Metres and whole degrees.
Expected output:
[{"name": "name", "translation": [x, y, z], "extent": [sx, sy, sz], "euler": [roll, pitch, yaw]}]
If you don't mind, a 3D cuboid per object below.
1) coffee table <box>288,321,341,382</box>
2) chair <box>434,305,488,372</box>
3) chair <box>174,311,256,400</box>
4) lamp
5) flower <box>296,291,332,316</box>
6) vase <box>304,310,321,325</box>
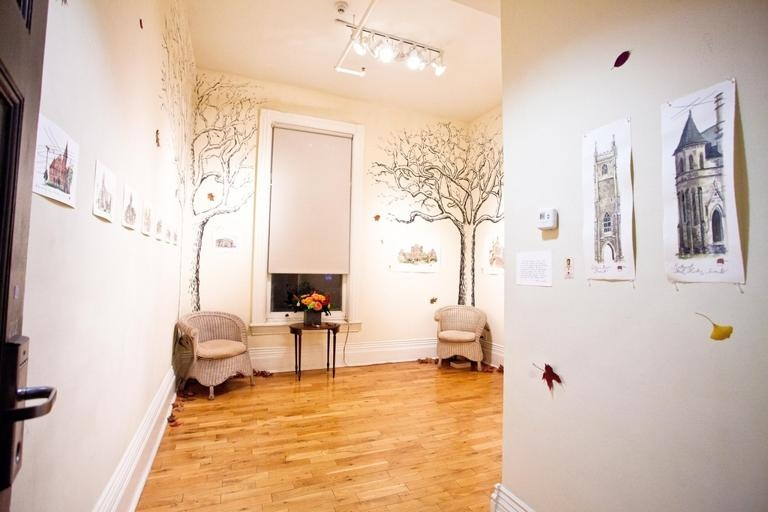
[{"name": "coffee table", "translation": [-0.858, 1.197, 6.085], "extent": [0.616, 0.641, 0.490], "euler": [1, -1, -23]}, {"name": "chair", "translation": [1.073, 1.135, 6.749], "extent": [0.700, 0.845, 0.758], "euler": [-1, -3, 31]}, {"name": "chair", "translation": [-1.842, 1.044, 5.404], "extent": [0.750, 0.967, 0.907], "euler": [-8, -8, 34]}, {"name": "lamp", "translation": [0.042, -2.229, 5.385], "extent": [1.390, 0.433, 1.017], "euler": [-3, 8, -29]}, {"name": "flower", "translation": [-0.876, 0.578, 6.089], "extent": [0.290, 0.159, 0.299], "euler": [14, 7, 1]}, {"name": "vase", "translation": [-0.880, 0.755, 6.017], "extent": [0.272, 0.206, 0.152], "euler": [2, -4, -28]}]
